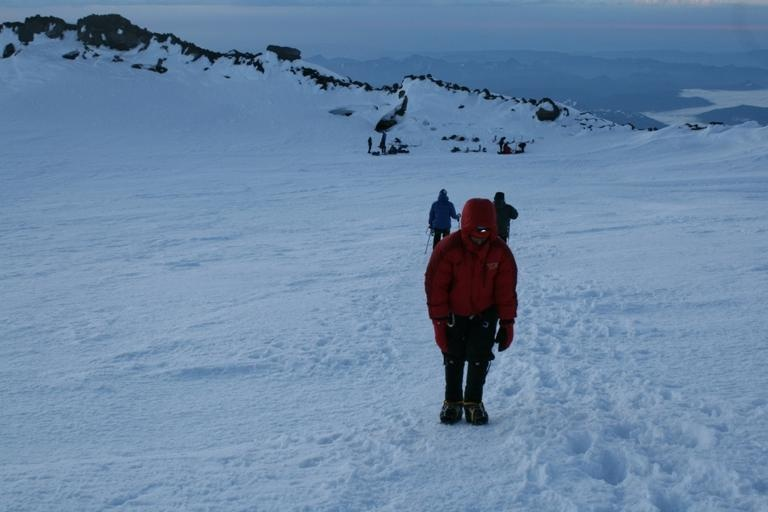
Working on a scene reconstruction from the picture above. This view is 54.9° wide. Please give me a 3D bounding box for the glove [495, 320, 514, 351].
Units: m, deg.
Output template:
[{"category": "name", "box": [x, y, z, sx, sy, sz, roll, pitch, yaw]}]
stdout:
[{"category": "glove", "box": [2.199, 1.451, 13.542, 0.494, 0.488, 0.176, -3, -5, 14]}]
